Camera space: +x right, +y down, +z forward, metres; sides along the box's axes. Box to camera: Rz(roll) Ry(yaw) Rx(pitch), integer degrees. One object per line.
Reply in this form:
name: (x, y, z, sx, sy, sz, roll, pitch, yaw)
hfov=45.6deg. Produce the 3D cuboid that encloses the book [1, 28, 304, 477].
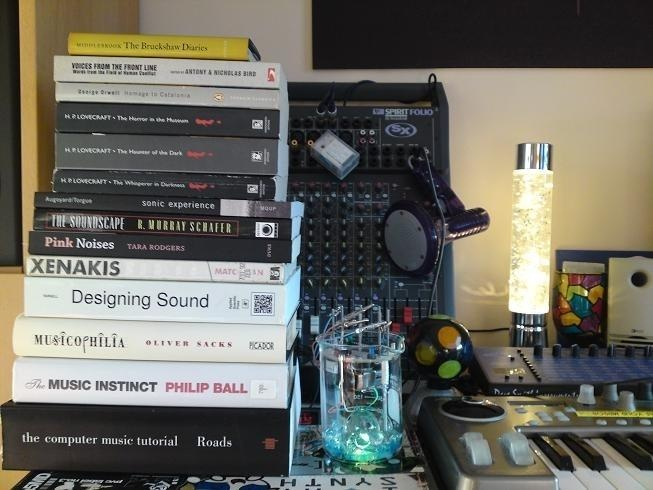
book: (-0.281, -0.021, 1.833, 0.684, 0.977, 0.741, 1, 3, 0)

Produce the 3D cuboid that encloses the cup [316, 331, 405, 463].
cup: (0.066, 0.275, 1.434, 0.160, 0.203, 0.141, -3, 5, 2)

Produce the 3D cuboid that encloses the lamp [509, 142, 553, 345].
lamp: (0.455, -0.002, 1.728, 0.105, 0.444, 0.093, -2, 5, 13)
